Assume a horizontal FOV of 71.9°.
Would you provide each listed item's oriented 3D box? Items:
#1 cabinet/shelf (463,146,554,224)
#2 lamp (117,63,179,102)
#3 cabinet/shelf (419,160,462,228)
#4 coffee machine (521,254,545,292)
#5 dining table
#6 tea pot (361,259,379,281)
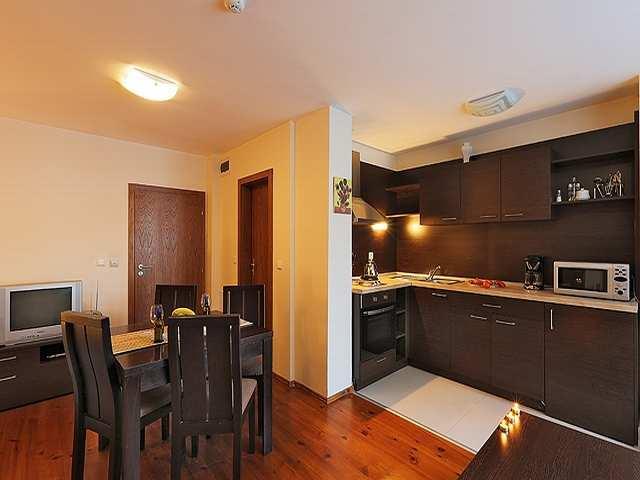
[{"bbox_3d":[2.047,-0.568,4.751,0.311,0.759,0.802,1,-3,-41],"label":"cabinet/shelf"},{"bbox_3d":[-1.539,-1.413,4.043,0.523,0.292,0.379,-4,-1,-28],"label":"lamp"},{"bbox_3d":[1.426,-0.525,5.262,0.138,0.741,0.557,-4,-1,-38],"label":"cabinet/shelf"},{"bbox_3d":[2.254,0.347,4.666,0.189,0.366,0.174,-4,0,25],"label":"coffee machine"},{"bbox_3d":[-1.113,0.945,3.640,1.451,1.321,1.116,-2,-1,40],"label":"dining table"},{"bbox_3d":[0.632,0.368,5.260,0.197,0.241,0.220,0,-2,-14],"label":"tea pot"}]
